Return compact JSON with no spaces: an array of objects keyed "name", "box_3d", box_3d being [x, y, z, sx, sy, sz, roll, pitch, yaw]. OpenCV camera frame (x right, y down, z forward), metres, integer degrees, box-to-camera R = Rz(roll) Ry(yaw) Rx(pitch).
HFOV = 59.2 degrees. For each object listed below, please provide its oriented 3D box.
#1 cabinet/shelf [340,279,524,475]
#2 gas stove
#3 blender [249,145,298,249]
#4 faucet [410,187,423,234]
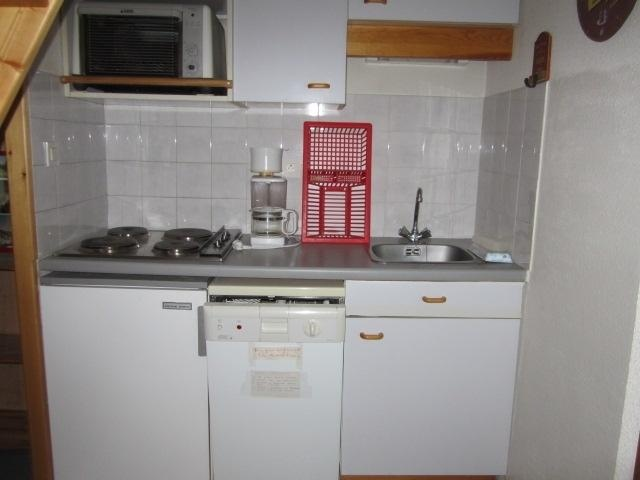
[{"name":"cabinet/shelf","box_3d":[0.497,0.600,2.884,0.835,1.131,0.803,0,4,2]},{"name":"gas stove","box_3d":[-0.807,0.021,2.697,0.776,0.109,0.481,1,3,-1]},{"name":"blender","box_3d":[-0.229,-0.218,2.890,0.267,0.502,0.379,1,3,-8]},{"name":"faucet","box_3d":[0.516,-0.148,2.991,0.056,0.263,0.189,2,3,9]}]
